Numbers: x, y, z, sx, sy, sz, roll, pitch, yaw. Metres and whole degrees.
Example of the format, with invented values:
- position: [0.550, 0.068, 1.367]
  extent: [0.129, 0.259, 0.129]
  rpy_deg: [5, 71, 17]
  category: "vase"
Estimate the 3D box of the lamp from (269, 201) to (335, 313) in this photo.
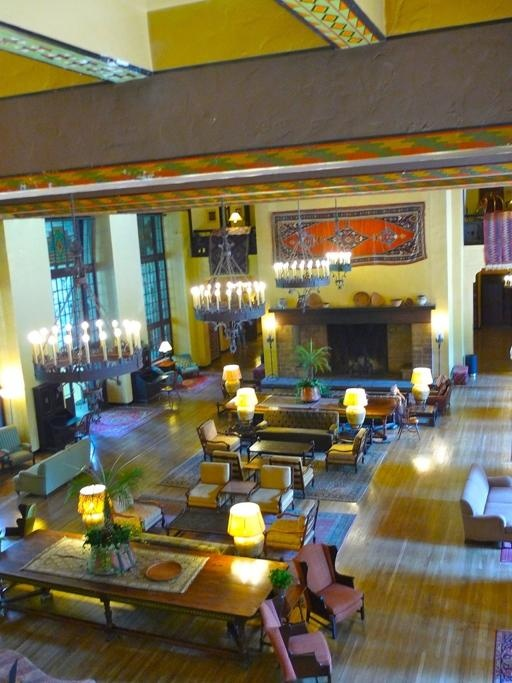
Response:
- position: [1.065, -1.949, 11.825]
  extent: [1.149, 2.448, 1.100]
  rpy_deg: [-4, 6, 0]
  category: "lamp"

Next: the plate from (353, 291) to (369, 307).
- position: [3.184, -1.264, 15.192]
  extent: [0.457, 0.427, 0.189]
  rpy_deg: [-1, 7, 13]
  category: "plate"

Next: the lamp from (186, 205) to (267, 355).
- position: [-0.358, -0.862, 6.212]
  extent: [0.853, 1.937, 0.823]
  rpy_deg: [-4, 11, -9]
  category: "lamp"

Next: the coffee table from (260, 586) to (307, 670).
- position: [0.281, 3.173, 5.566]
  extent: [0.533, 0.735, 0.658]
  rpy_deg: [0, 24, 4]
  category: "coffee table"

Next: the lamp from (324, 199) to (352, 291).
- position: [2.369, -2.387, 13.284]
  extent: [0.532, 1.814, 0.530]
  rpy_deg: [18, -10, -3]
  category: "lamp"

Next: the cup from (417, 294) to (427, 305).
- position: [4.794, -1.197, 14.576]
  extent: [0.237, 0.289, 0.380]
  rpy_deg: [4, 14, 38]
  category: "cup"

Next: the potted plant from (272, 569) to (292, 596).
- position: [0.268, 2.791, 5.909]
  extent: [0.290, 0.269, 0.278]
  rpy_deg: [0, 9, -3]
  category: "potted plant"

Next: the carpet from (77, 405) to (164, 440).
- position: [-3.307, 2.062, 12.598]
  extent: [1.788, 0.014, 1.571]
  rpy_deg: [6, 18, 21]
  category: "carpet"

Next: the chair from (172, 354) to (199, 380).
- position: [-2.564, 0.901, 18.257]
  extent: [0.895, 1.047, 0.866]
  rpy_deg: [-9, 10, -32]
  category: "chair"

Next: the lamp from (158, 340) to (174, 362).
- position: [-3.278, 0.356, 18.101]
  extent: [0.564, 0.788, 0.554]
  rpy_deg: [4, 19, 20]
  category: "lamp"

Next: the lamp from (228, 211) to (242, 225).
- position: [-0.748, -4.474, 18.321]
  extent: [0.460, 0.355, 0.441]
  rpy_deg: [-2, 8, -1]
  category: "lamp"
